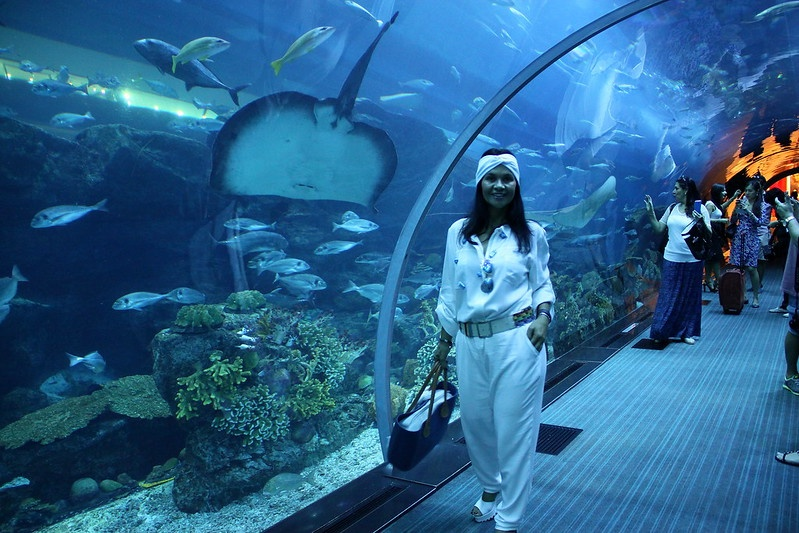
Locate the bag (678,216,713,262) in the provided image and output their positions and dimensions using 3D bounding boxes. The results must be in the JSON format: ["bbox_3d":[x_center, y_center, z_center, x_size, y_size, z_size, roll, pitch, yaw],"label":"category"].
[{"bbox_3d":[4.523,-0.431,7.639,0.573,0.510,0.241,-40,8,-25],"label":"bag"}]

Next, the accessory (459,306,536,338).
[{"bbox_3d":[0.785,0.449,3.950,0.591,0.230,0.171,-3,13,4],"label":"accessory"}]

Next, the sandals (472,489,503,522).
[{"bbox_3d":[0.808,2.059,4.329,0.161,0.152,0.386,-7,-8,35],"label":"sandals"}]

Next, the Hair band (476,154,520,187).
[{"bbox_3d":[0.778,-0.758,3.998,0.281,0.159,0.260,1,-2,6],"label":"Hair band"}]

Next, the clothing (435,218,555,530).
[{"bbox_3d":[0.860,0.796,4.045,0.781,2.288,0.917,-10,14,-19],"label":"clothing"}]
